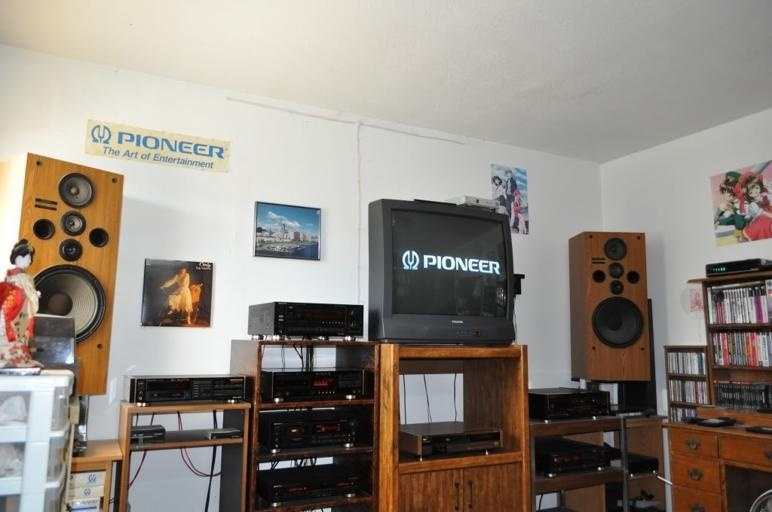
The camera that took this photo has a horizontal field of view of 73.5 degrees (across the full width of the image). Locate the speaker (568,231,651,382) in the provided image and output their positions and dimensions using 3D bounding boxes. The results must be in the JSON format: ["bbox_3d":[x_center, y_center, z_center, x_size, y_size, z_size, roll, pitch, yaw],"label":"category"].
[{"bbox_3d":[1.857,0.418,4.335,0.617,1.229,0.295,-3,-10,19],"label":"speaker"}]

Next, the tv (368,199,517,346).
[{"bbox_3d":[0.341,0.136,3.376,0.856,0.814,0.475,3,-13,-18],"label":"tv"}]

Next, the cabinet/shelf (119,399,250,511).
[{"bbox_3d":[-1.257,1.241,3.197,0.742,0.710,0.315,5,-15,-23],"label":"cabinet/shelf"}]

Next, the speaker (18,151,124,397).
[{"bbox_3d":[-1.899,0.095,3.239,0.575,1.413,0.535,5,11,-27],"label":"speaker"}]

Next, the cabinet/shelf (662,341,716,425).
[{"bbox_3d":[2.422,1.119,4.082,0.148,0.794,0.342,12,-17,-38],"label":"cabinet/shelf"}]
